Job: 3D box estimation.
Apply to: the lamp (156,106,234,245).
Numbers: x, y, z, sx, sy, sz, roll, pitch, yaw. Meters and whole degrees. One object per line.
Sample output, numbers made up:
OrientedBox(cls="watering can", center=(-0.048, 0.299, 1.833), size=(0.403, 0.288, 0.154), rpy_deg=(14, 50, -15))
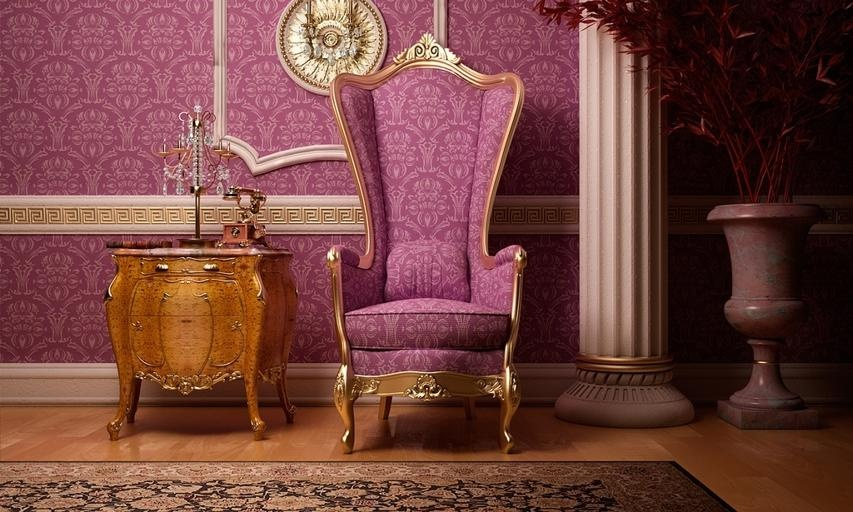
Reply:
OrientedBox(cls="lamp", center=(-1.328, -0.514, 4.271), size=(0.403, 0.809, 0.591), rpy_deg=(-5, 5, -19))

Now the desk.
OrientedBox(cls="desk", center=(-1.217, 0.468, 4.105), size=(0.965, 0.930, 0.692), rpy_deg=(-1, -3, 10))

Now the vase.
OrientedBox(cls="vase", center=(1.846, 0.326, 3.984), size=(0.567, 1.234, 0.258), rpy_deg=(-1, 6, 18))

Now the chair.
OrientedBox(cls="chair", center=(0.022, -0.097, 3.914), size=(1.040, 2.150, 0.873), rpy_deg=(-2, 5, 7))

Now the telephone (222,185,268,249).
OrientedBox(cls="telephone", center=(-1.000, -0.228, 4.116), size=(0.302, 0.314, 0.276), rpy_deg=(8, 13, 34))
